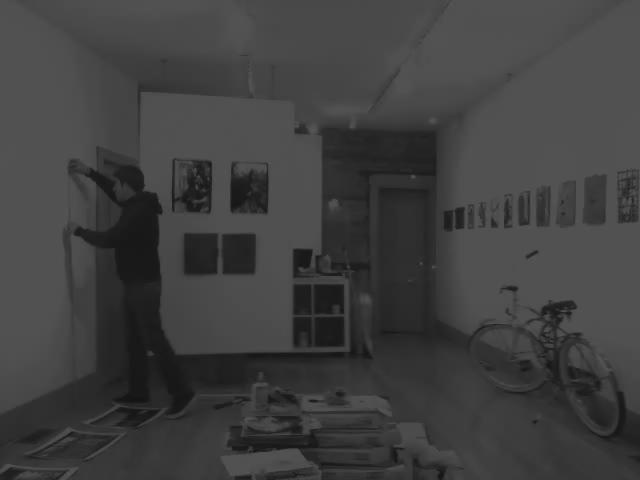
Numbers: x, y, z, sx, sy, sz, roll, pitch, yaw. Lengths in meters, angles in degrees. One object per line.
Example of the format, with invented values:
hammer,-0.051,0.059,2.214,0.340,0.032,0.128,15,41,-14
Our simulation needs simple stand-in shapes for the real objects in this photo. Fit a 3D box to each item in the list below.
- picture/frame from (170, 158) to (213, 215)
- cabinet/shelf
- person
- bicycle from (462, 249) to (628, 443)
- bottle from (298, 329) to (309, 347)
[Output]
picture/frame,-1.393,-0.579,5.221,0.600,0.806,0.087,0,0,-8
cabinet/shelf,0.025,0.864,5.819,0.678,0.920,0.701,0,9,-2
person,-1.676,0.384,4.423,1.232,2.194,0.707,7,11,37
bicycle,2.216,1.035,4.507,0.718,1.089,1.577,-10,8,-12
bottle,-0.191,1.150,5.658,0.126,0.163,0.218,0,8,-3
